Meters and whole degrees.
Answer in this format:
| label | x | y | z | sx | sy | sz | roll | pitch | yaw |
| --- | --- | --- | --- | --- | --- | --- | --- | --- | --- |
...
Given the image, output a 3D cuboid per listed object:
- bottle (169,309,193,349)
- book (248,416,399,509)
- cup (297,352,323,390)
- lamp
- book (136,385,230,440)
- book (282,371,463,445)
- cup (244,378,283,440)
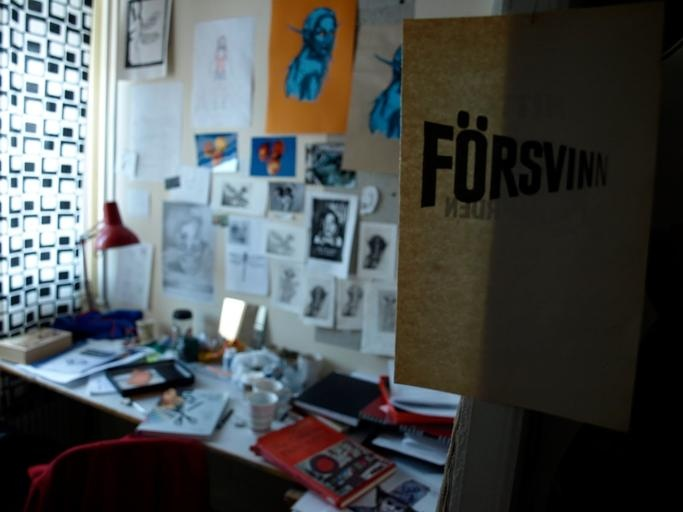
| label | x | y | z | sx | sy | sz | roll | pitch | yaw |
| --- | --- | --- | --- | --- | --- | --- | --- | --- | --- |
| bottle | -0.581 | 0.267 | 1.892 | 0.071 | 0.136 | 0.075 | 8 | 0 | 0 |
| book | -0.039 | 0.478 | 1.261 | 0.150 | 0.031 | 0.195 | -10 | 23 | -43 |
| cup | -0.095 | 0.353 | 1.710 | 0.081 | 0.148 | 0.089 | 4 | 4 | 0 |
| lamp | -0.871 | 0.020 | 1.964 | 0.183 | 0.459 | 0.507 | 0 | 7 | -27 |
| book | -0.425 | 0.426 | 1.479 | 0.200 | 0.030 | 0.288 | 3 | 7 | -2 |
| book | 0.071 | 0.381 | 1.305 | 0.316 | 0.049 | 0.334 | 12 | 13 | 18 |
| cup | -0.214 | 0.421 | 1.458 | 0.104 | 0.092 | 0.090 | -2 | 11 | -45 |
